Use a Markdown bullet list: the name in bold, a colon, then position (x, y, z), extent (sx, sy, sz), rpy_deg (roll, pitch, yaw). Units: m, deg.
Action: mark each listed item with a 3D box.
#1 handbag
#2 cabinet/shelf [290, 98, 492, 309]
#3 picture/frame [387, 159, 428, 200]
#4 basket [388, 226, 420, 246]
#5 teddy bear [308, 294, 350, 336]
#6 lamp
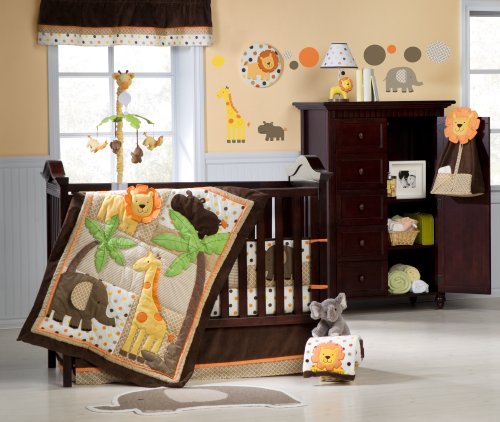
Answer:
- **handbag**: position (1.544, -0.343, 4.573), extent (0.313, 0.537, 0.177), rpy_deg (2, -14, 40)
- **cabinet/shelf**: position (1.093, -0.047, 4.760), extent (1.213, 1.591, 0.708), rpy_deg (0, 8, 15)
- **picture/frame**: position (1.193, -0.229, 4.720), extent (0.266, 0.269, 0.027), rpy_deg (-2, 3, -14)
- **basket**: position (1.157, 0.202, 4.685), extent (0.137, 0.091, 0.184), rpy_deg (0, -5, -7)
- **teddy bear**: position (0.427, 0.558, 3.255), extent (0.181, 0.243, 0.328), rpy_deg (-7, -4, 16)
- **lamp**: position (0.667, -1.055, 4.686), extent (0.233, 0.433, 0.257), rpy_deg (-5, 16, -12)
